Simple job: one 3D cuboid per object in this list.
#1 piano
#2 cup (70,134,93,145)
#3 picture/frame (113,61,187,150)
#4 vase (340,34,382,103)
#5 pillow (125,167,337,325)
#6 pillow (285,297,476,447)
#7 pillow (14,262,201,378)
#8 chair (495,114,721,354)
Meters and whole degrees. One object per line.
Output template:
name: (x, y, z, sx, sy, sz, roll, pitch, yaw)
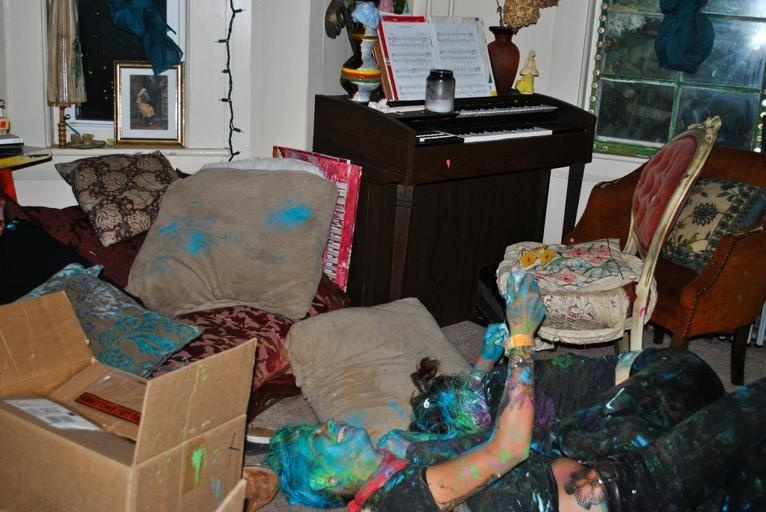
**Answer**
piano: (0.478, -0.270, 3.216, 1.210, 1.149, 0.621, -11, 25, -26)
cup: (-1.631, -0.617, 3.115, 0.063, 0.034, 0.080, 3, 0, 27)
picture/frame: (-1.301, -0.844, 3.175, 0.495, 0.563, 0.041, -2, 13, -20)
vase: (-0.108, -0.929, 2.867, 0.192, 0.318, 0.104, 0, 21, -3)
pillow: (-0.709, 0.012, 2.699, 0.976, 0.246, 0.916, 16, 29, 18)
pillow: (-0.050, 0.425, 2.430, 0.768, 0.184, 0.774, 14, 41, -21)
pillow: (-1.020, 0.229, 2.175, 0.485, 0.101, 0.426, 37, 45, 9)
chair: (0.959, 0.027, 2.615, 0.867, 1.157, 0.735, 0, 24, 20)
